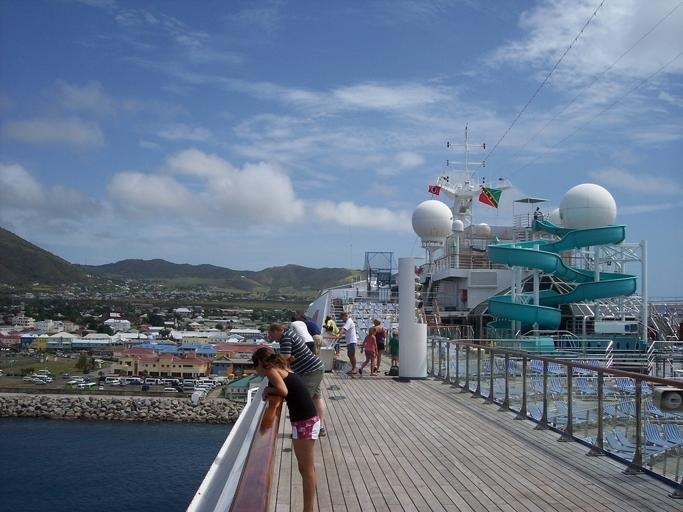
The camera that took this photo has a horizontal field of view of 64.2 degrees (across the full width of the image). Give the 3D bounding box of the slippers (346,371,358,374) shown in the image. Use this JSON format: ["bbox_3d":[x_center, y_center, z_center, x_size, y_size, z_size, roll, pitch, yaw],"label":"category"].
[{"bbox_3d":[0.279,3.393,15.727,0.349,0.110,0.117,3,-6,-3],"label":"slippers"}]

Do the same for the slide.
[{"bbox_3d":[12.389,0.968,30.321,7.451,5.640,6.302,-6,-2,12],"label":"slide"}]

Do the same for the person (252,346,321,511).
[{"bbox_3d":[-0.588,1.877,5.834,0.380,1.827,0.699,-6,-4,36],"label":"person"}]

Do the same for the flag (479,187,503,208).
[{"bbox_3d":[11.805,-4.629,42.432,1.649,1.647,1.682,-3,-3,-4],"label":"flag"}]

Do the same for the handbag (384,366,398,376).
[{"bbox_3d":[1.438,3.311,15.614,0.303,0.239,0.485,-2,-3,-8],"label":"handbag"}]

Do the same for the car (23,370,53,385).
[{"bbox_3d":[-35.404,14.050,62.668,2.195,0.669,1.556,6,-1,-6],"label":"car"}]

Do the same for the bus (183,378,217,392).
[{"bbox_3d":[-15.237,13.709,57.362,3.376,1.398,1.814,-4,1,2],"label":"bus"}]
